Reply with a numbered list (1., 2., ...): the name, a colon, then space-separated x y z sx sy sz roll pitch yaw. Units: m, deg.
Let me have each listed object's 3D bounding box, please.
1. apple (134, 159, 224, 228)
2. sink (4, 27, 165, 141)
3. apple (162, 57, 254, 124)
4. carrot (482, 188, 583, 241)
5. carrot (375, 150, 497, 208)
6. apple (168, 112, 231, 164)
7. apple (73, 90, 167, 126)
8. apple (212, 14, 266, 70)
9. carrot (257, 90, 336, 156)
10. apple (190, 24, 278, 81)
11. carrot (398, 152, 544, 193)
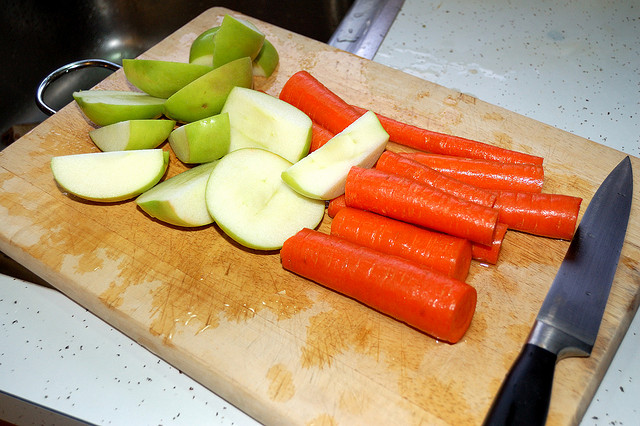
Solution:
1. apple: -0.645 -0.112 2.200 0.335 0.167 0.338 1 69 -10
2. sink: -1.421 -0.743 2.849 0.154 0.499 0.882 48 68 -16
3. apple: -0.518 -0.584 2.349 0.352 0.354 0.230 -29 97 -52
4. carrot: 0.896 0.000 2.171 0.390 0.154 0.192 3 95 2
5. carrot: 0.506 -0.144 2.176 0.391 0.098 0.097 25 35 20
6. apple: -0.530 -0.343 2.269 0.258 0.256 0.233 -19 38 -40
7. apple: -0.969 -0.524 2.388 0.297 0.115 0.256 -3 21 -25
8. apple: -0.429 -0.832 2.514 0.221 0.224 0.261 0 73 6
9. carrot: -0.112 -0.425 2.355 0.370 0.115 0.133 43 84 14
10. apple: -0.450 -0.922 2.578 0.356 0.356 0.209 10 88 14
11. carrot: 0.686 -0.178 2.224 0.376 0.087 0.079 16 72 18
